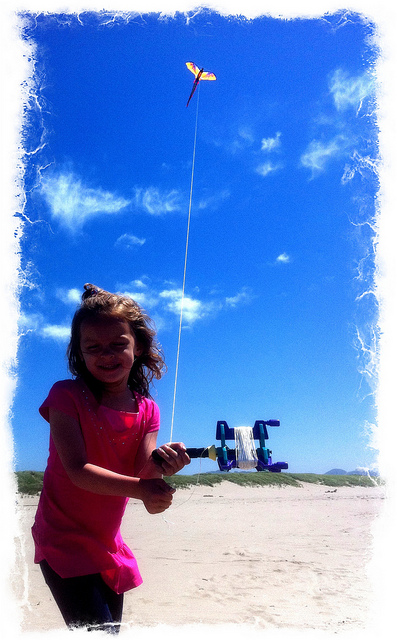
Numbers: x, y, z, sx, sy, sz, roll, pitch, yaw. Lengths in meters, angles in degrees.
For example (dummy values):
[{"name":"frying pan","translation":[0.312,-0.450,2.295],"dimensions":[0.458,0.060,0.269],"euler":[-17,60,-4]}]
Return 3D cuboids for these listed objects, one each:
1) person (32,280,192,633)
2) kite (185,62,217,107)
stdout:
[{"name":"person","translation":[-0.523,0.728,3.139],"dimensions":[0.739,1.953,1.050],"euler":[6,-11,-15]},{"name":"kite","translation":[-0.036,-3.075,7.462],"dimensions":[0.448,0.194,0.499],"euler":[21,-47,-12]}]
